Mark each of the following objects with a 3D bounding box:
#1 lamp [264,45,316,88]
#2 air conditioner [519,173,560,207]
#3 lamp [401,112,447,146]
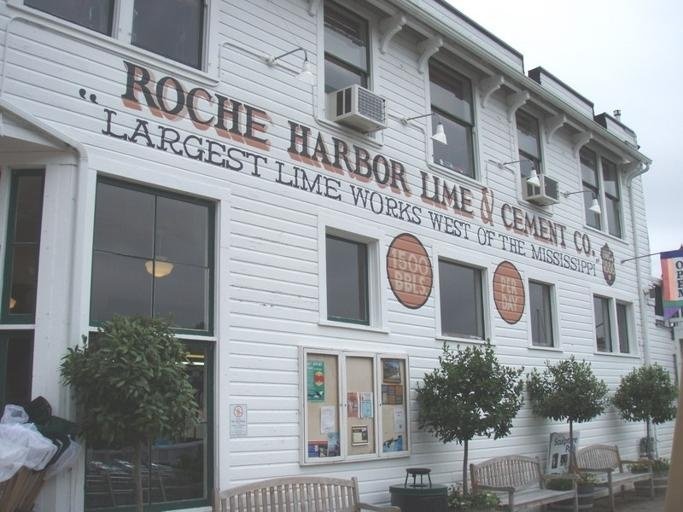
[{"bbox_3d":[-0.636,-2.879,10.273,0.664,0.787,0.700,0,-4,35],"label":"lamp"},{"bbox_3d":[4.379,-1.186,14.682,0.565,0.654,1.005,-10,-15,36],"label":"air conditioner"},{"bbox_3d":[1.478,-2.339,12.057,0.902,0.460,0.373,10,30,41],"label":"lamp"}]
